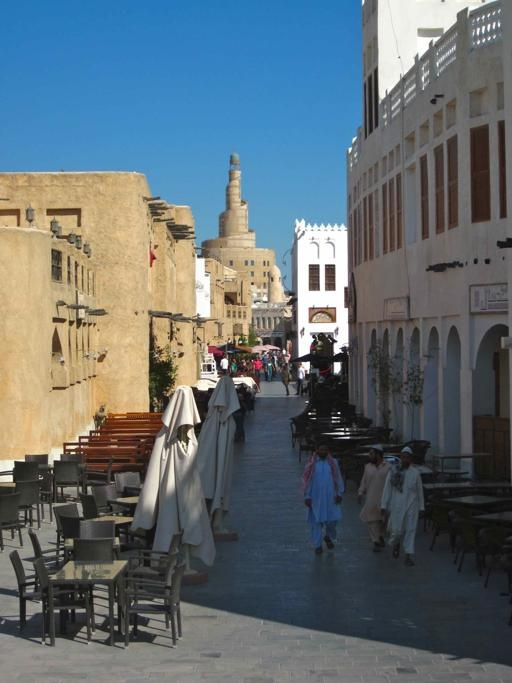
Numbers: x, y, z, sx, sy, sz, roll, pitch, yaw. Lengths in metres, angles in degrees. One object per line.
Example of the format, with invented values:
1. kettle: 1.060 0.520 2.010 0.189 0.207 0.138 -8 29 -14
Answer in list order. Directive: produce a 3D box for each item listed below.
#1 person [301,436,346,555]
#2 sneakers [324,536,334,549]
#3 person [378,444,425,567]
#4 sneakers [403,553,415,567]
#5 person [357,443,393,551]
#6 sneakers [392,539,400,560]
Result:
1. person: 0.901 2.051 16.923 0.426 1.656 0.353 -4 26 -5
2. sneakers: 0.979 2.663 16.895 0.073 0.280 0.063 -18 -3 -15
3. person: 1.913 2.104 16.298 0.387 1.580 0.435 3 10 16
4. sneakers: 1.963 2.788 16.021 0.067 0.203 0.235 -1 -10 -5
5. person: 1.604 2.074 16.800 0.377 1.449 0.364 3 -31 2
6. sneakers: 1.821 2.700 16.368 0.062 0.336 0.110 -1 2 9
